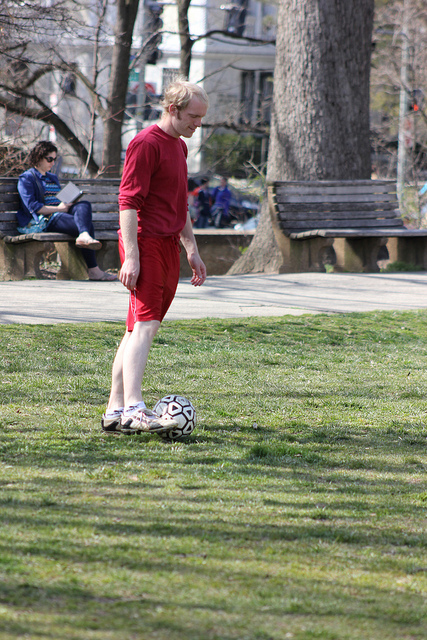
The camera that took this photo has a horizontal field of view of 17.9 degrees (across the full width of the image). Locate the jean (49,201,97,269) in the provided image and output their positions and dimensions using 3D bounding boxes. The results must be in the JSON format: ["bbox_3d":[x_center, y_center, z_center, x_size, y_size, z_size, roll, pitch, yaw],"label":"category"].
[{"bbox_3d":[-1.255,-0.770,12.389,0.436,0.653,0.636,3,11,-5],"label":"jean"}]

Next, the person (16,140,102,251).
[{"bbox_3d":[-1.387,-1.142,12.412,0.627,0.991,1.190,-4,13,-35],"label":"person"}]

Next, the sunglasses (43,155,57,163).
[{"bbox_3d":[-1.467,-1.488,12.370,0.082,0.027,0.080,4,-2,31],"label":"sunglasses"}]
